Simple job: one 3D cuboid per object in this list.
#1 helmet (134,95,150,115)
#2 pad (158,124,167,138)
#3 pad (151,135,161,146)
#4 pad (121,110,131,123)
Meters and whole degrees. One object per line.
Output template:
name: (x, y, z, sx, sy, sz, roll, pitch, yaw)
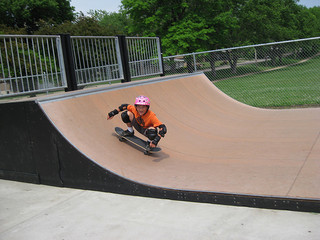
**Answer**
helmet: (-0.377, -0.303, 6.487, 0.296, 0.384, 0.438, -6, 10, -5)
pad: (0.054, 0.211, 6.331, 0.149, 0.214, 0.087, 26, 13, 36)
pad: (-0.086, 0.388, 6.279, 0.168, 0.187, 0.092, -7, 10, -8)
pad: (-0.717, -0.056, 6.709, 0.156, 0.216, 0.092, -13, 28, 39)
